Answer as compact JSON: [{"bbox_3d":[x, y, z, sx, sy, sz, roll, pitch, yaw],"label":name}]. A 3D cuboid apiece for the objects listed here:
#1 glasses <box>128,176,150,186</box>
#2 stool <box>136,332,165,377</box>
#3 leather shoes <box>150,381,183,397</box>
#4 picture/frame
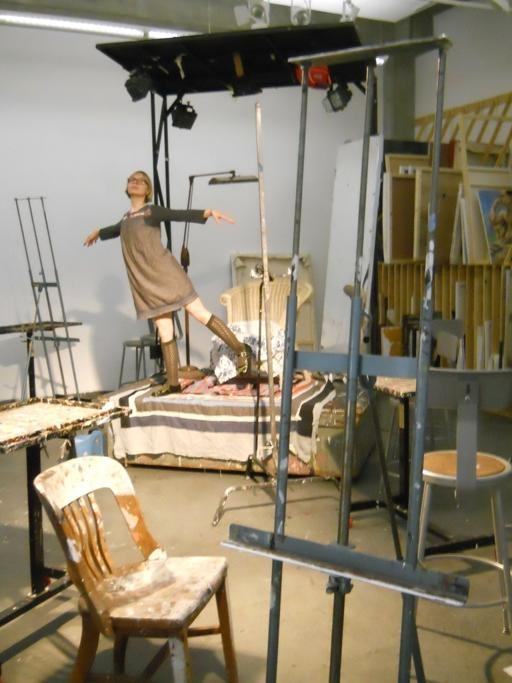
[{"bbox_3d":[-0.694,-0.951,3.931,0.133,0.062,0.066,-8,11,-24],"label":"glasses"},{"bbox_3d":[-0.861,0.160,5.235,0.210,0.344,0.226,-8,18,-39],"label":"stool"},{"bbox_3d":[-0.544,0.290,3.971,0.146,0.059,0.084,2,-3,-20],"label":"leather shoes"},{"bbox_3d":[1.518,-1.136,5.453,0.965,0.988,1.613,-4,10,-2],"label":"picture/frame"}]
